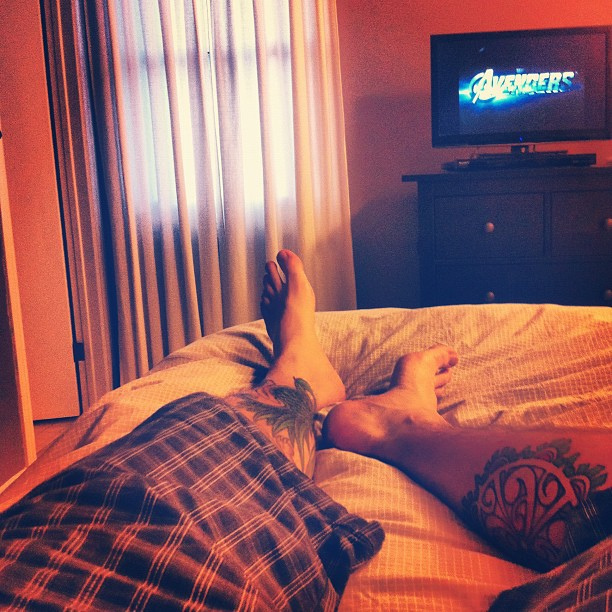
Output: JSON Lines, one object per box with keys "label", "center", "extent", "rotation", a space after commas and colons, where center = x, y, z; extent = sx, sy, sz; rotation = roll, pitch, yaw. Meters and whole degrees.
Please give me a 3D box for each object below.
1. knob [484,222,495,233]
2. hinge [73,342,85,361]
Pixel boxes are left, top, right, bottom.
{"label": "knob", "center": [0.580, -0.246, 1.927], "extent": [0.028, 0.035, 0.029], "rotation": [1, 9, 2]}
{"label": "hinge", "center": [-0.860, 0.178, 2.302], "extent": [0.056, 0.064, 0.014], "rotation": [5, -5, -28]}
